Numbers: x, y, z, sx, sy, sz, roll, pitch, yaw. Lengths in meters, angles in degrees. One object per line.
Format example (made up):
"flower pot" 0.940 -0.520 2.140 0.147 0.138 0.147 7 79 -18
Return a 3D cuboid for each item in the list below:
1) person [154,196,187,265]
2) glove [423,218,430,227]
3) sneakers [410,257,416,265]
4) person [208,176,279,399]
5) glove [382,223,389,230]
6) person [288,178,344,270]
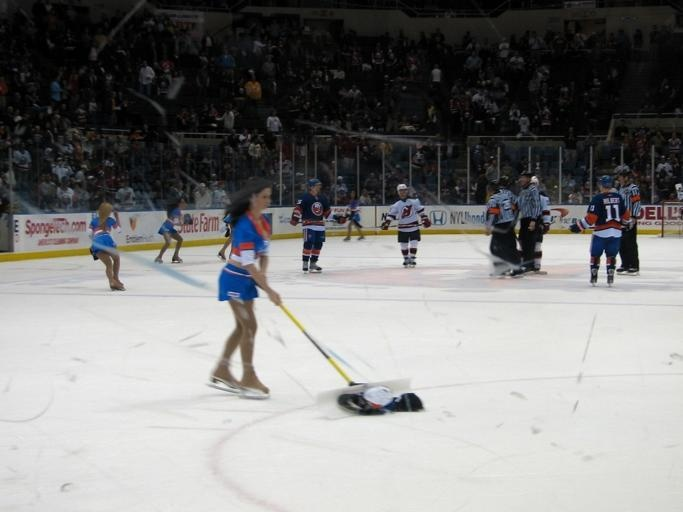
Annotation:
"person" -4.106 -0.631 17.770 0.639 1.483 3.388 -3 3 -12
"glove" 1.852 -0.728 16.228 0.212 0.106 0.286 4 7 0
"sneakers" 1.539 0.109 16.165 0.150 0.145 0.140 -1 -8 -4
"person" -0.870 0.278 6.463 0.629 1.905 0.848 -3 4 -11
"glove" 0.919 -0.638 15.818 0.107 0.201 0.307 0 -9 -1
"person" -0.608 -0.649 15.305 0.833 1.921 1.139 -2 4 -4
